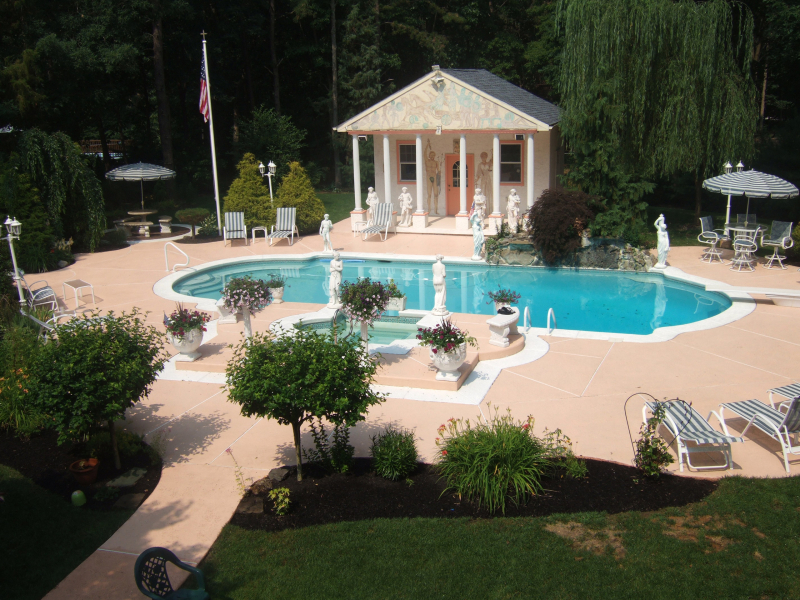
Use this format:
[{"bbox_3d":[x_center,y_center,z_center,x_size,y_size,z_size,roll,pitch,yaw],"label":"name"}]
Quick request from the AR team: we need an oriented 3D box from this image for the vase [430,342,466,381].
[{"bbox_3d":[0.991,1.227,12.410,0.615,0.667,0.727,-1,4,5],"label":"vase"}]

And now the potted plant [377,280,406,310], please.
[{"bbox_3d":[-0.221,-0.082,14.591,0.671,0.319,1.034,1,9,4],"label":"potted plant"}]

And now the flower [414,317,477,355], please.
[{"bbox_3d":[0.845,0.754,12.290,0.755,0.477,0.802,1,4,-4],"label":"flower"}]

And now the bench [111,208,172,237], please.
[{"bbox_3d":[-12.479,-3.843,29.664,2.306,1.238,4.316,-7,14,-25],"label":"bench"}]

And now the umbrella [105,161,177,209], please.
[{"bbox_3d":[-14.307,-6.236,33.622,3.119,3.049,3.325,-1,18,-8],"label":"umbrella"}]

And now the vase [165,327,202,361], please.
[{"bbox_3d":[-4.825,0.981,13.908,0.675,0.680,0.769,-1,6,-3],"label":"vase"}]

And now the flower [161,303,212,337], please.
[{"bbox_3d":[-4.752,0.505,13.737,0.790,0.616,0.839,1,6,5],"label":"flower"}]

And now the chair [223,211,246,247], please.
[{"bbox_3d":[-7.063,-2.995,26.190,0.923,1.480,1.498,-1,-25,-9],"label":"chair"}]

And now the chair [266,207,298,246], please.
[{"bbox_3d":[-5.135,-3.212,26.369,0.944,1.384,1.865,2,28,5],"label":"chair"}]

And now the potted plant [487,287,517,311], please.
[{"bbox_3d":[2.524,-0.029,14.761,0.736,0.590,0.767,0,4,3],"label":"potted plant"}]

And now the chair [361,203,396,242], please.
[{"bbox_3d":[-0.959,-3.493,26.861,0.980,1.297,1.837,7,33,16],"label":"chair"}]

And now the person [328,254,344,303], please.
[{"bbox_3d":[-1.616,-0.452,15.206,0.296,1.410,1.194,-3,12,-8],"label":"person"}]

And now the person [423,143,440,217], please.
[{"bbox_3d":[1.578,-5.869,29.316,0.685,3.555,0.750,-1,12,2],"label":"person"}]

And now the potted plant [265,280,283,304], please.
[{"bbox_3d":[-3.373,-0.190,17.139,0.647,0.703,0.694,0,4,3],"label":"potted plant"}]

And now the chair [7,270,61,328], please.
[{"bbox_3d":[-10.059,0.000,16.751,0.525,0.941,1.291,-12,32,-29],"label":"chair"}]
